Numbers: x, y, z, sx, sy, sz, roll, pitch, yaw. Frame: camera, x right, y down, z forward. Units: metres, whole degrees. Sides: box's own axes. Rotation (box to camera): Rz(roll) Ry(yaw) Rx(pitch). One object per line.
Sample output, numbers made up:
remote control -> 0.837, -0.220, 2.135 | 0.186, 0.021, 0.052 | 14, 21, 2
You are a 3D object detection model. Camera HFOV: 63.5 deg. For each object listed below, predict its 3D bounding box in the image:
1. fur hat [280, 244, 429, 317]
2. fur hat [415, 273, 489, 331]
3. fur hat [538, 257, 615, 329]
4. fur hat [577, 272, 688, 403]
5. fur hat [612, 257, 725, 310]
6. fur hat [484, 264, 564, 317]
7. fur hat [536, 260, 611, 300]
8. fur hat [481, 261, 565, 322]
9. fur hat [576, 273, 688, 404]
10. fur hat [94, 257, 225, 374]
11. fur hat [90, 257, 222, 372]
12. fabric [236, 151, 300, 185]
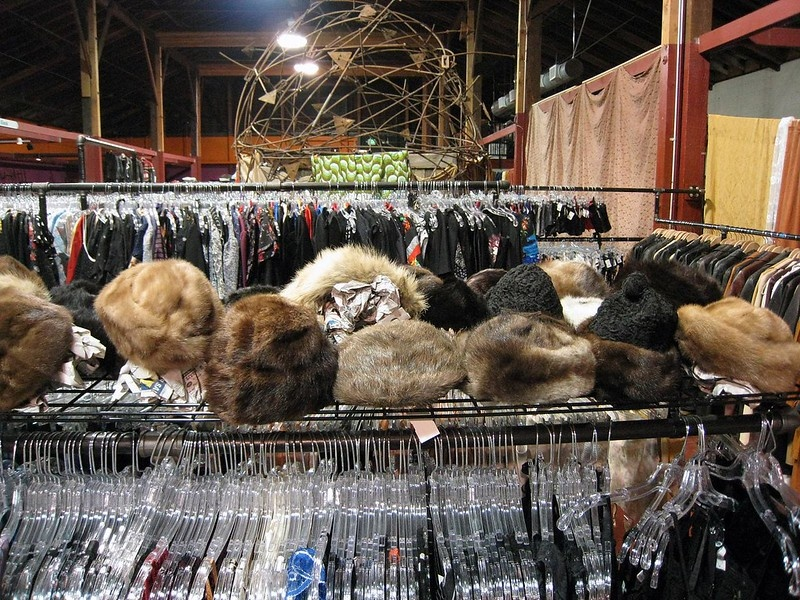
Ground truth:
fur hat -> -0.154, -0.071, 1.777 | 0.244, 0.131, 0.265 | 0, -2, 26
fur hat -> 0.150, 0.003, 1.826 | 0.127, 0.084, 0.176 | 5, 4, -18
fur hat -> 0.539, -0.021, 1.981 | 0.219, 0.121, 0.183 | 1, 35, 22
fur hat -> 0.560, 0.097, 1.702 | 0.224, 0.303, 0.319 | -1, 7, 6
fur hat -> 0.783, -0.051, 1.832 | 0.197, 0.087, 0.195 | 0, 4, -43
fur hat -> 0.336, -0.022, 1.754 | 0.213, 0.143, 0.159 | 1, 7, 8
fur hat -> 0.536, -0.064, 2.024 | 0.202, 0.101, 0.275 | 1, 5, 7
fur hat -> 0.337, -0.002, 1.745 | 0.142, 0.128, 0.181 | -19, -9, -7
fur hat -> 0.555, 0.101, 1.692 | 0.227, 0.302, 0.318 | -1, 7, 5
fur hat -> -0.593, 0.023, 1.688 | 0.220, 0.257, 0.310 | -15, 16, -3
fur hat -> -0.597, 0.026, 1.685 | 0.218, 0.253, 0.306 | -19, 16, -2
fabric -> -1.121, -1.088, 5.297 | 0.681, 0.265, 0.512 | 7, 9, 44
